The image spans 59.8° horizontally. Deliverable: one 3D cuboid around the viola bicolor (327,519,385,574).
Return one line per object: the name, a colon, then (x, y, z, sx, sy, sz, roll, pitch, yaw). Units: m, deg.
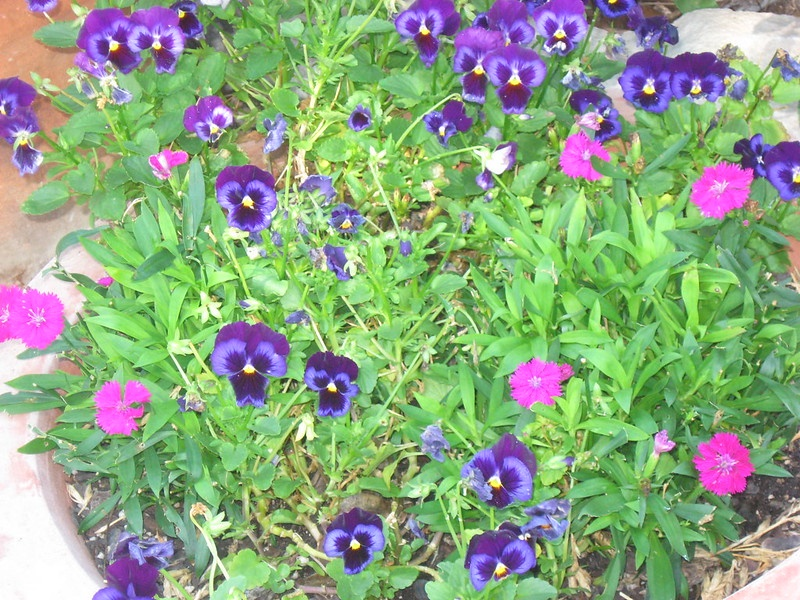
viola bicolor: (-0.181, 0.954, 2.707, 0.194, 0.232, 0.054, -3, 17, -11)
